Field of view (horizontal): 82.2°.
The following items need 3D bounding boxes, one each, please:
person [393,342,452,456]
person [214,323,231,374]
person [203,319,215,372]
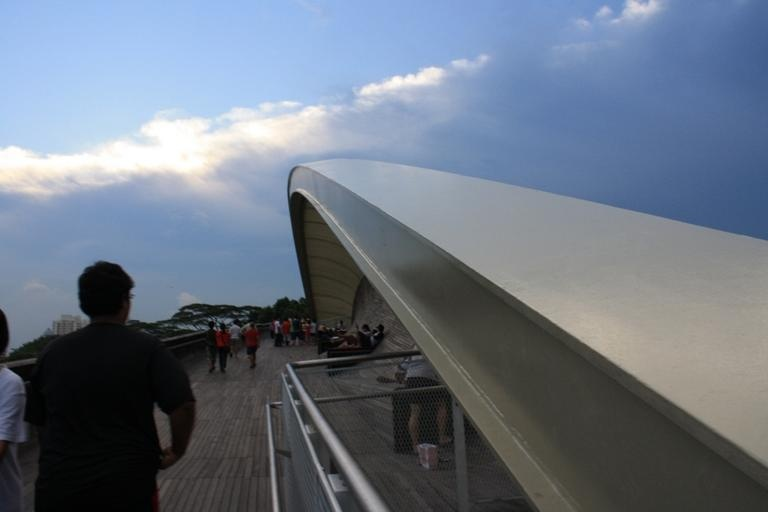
[{"bbox_3d":[0.456,1.786,5.293,0.605,0.715,0.570,-4,2,26],"label":"person"},{"bbox_3d":[-5.203,2.918,14.143,0.406,1.429,1.269,-5,2,-22],"label":"person"},{"bbox_3d":[-5.514,2.804,14.008,0.319,1.528,0.872,-5,2,-22],"label":"person"}]
